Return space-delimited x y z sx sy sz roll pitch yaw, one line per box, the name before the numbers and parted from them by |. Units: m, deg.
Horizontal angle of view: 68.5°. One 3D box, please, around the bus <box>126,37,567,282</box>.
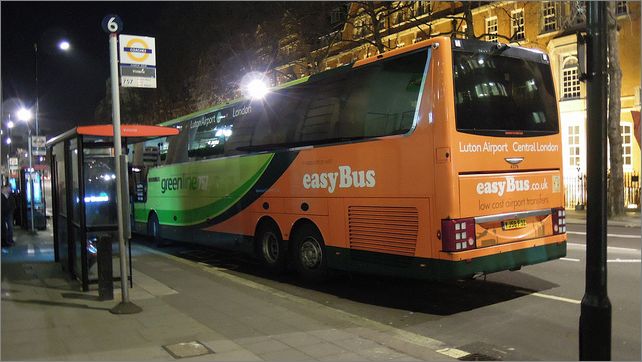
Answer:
bus | -1.366 -0.130 16.627 5.487 4.762 16.619 0 0 -41
